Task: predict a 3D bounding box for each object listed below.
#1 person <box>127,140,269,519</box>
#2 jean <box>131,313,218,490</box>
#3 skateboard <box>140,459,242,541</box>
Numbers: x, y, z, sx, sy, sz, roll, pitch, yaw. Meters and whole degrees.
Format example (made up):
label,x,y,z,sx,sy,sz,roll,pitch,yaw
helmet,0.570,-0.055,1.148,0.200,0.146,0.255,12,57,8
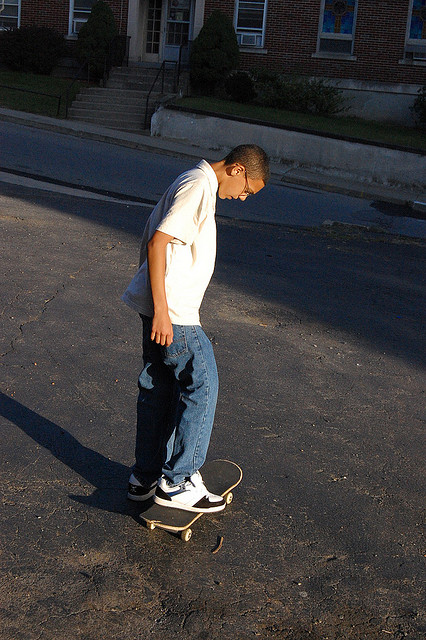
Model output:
label,x,y,z,sx,sy,sz,roll,pitch,yaw
person,-0.065,0.066,2.540,0.558,1.658,0.410,6,13,-14
jean,-0.191,0.394,2.586,0.365,0.823,0.306,7,12,-7
skateboard,-0.062,0.791,2.682,0.178,0.105,0.605,14,16,22
